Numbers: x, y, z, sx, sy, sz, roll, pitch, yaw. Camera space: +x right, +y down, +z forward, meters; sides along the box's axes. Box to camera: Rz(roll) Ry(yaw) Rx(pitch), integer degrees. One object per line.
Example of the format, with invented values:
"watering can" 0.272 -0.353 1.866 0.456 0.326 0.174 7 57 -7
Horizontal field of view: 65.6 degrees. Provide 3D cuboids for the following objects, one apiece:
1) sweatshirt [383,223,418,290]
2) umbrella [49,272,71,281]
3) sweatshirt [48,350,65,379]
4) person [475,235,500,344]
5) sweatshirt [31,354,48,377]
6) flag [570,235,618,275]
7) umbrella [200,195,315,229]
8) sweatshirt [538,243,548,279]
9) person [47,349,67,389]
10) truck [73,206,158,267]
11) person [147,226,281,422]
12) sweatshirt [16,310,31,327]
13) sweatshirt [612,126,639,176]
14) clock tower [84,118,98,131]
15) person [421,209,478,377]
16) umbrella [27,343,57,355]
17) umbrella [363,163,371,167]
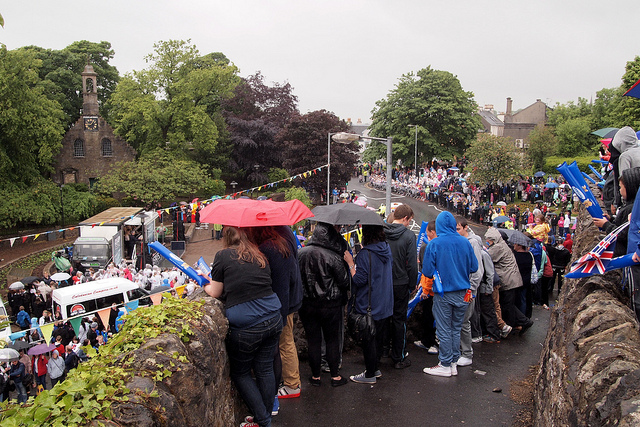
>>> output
"sweatshirt" 1.304 0.742 8.644 0.539 1.109 0.687 3 0 -26
"umbrella" -9.831 2.441 18.946 0.546 0.286 1.212 -5 5 -23
"sweatshirt" -6.799 3.981 12.917 0.532 0.636 0.219 -2 6 13
"person" 3.213 1.477 9.599 0.678 2.109 0.380 -7 7 -34
"sweatshirt" -7.450 4.070 13.400 0.239 0.597 0.169 -7 7 -33
"flag" 3.454 0.511 6.278 0.474 0.462 0.478 1 6 35
"umbrella" -0.832 -0.007 6.543 1.389 0.372 0.744 -4 5 -15
"sweatshirt" 5.261 1.173 11.761 0.201 0.819 0.920 0 6 25
"person" -6.774 4.009 12.888 0.346 1.020 0.755 -7 7 -38
"truck" -10.931 1.472 26.498 2.161 2.542 6.685 2 10 -6
"person" -0.910 1.419 6.229 0.830 2.521 0.469 -4 6 -12
"sweatshirt" -9.938 3.526 16.748 0.390 0.578 0.489 -6 6 -32
"sweatshirt" 4.438 -0.928 7.235 0.326 0.692 0.861 0 6 30
"clock tower" -23.897 -9.277 52.015 1.334 1.258 0.137 1 -1 -10
"person" 2.140 1.346 8.299 0.907 2.729 0.421 -2 6 8
"umbrella" -7.159 3.545 12.892 0.634 0.280 0.472 -7 6 -38
"umbrella" 6.566 -6.795 70.445 0.982 0.462 0.931 -5 -11 43
